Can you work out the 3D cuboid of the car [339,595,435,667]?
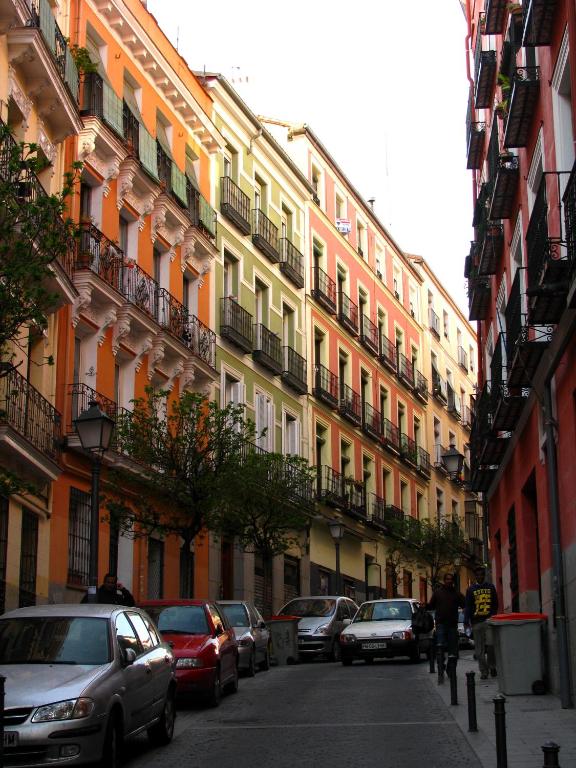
[{"bbox_3d":[2.179,5.351,22.698,1.234,1.215,2.605,-5,-18,13],"label":"car"}]

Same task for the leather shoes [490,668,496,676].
[{"bbox_3d":[3.425,4.805,17.070,0.072,0.154,0.144,0,-15,3],"label":"leather shoes"}]

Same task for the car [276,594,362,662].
[{"bbox_3d":[0.839,5.856,24.871,1.042,1.078,2.094,-5,-18,14],"label":"car"}]

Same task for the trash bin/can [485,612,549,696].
[{"bbox_3d":[3.134,3.635,13.973,0.804,1.433,0.879,0,-11,6],"label":"trash bin/can"}]

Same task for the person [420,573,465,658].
[{"bbox_3d":[2.640,4.011,17.278,0.603,1.753,0.562,-1,16,5],"label":"person"}]

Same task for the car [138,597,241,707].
[{"bbox_3d":[-1.250,3.526,13.621,0.769,0.928,2.101,-3,-17,6],"label":"car"}]

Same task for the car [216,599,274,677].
[{"bbox_3d":[-0.830,4.723,19.282,0.833,0.992,2.100,-3,-14,6],"label":"car"}]
